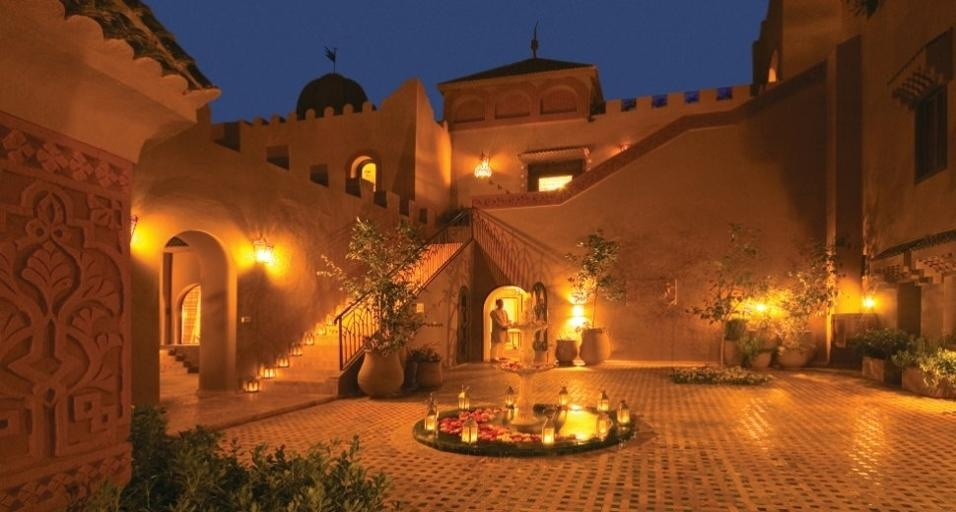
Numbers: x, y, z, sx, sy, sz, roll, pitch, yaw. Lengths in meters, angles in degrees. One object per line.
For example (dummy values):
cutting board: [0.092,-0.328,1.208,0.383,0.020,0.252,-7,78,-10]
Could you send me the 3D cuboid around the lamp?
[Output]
lamp: [1.023,3.523,16.589,4.617,0.889,2.534,-1,7,-7]
